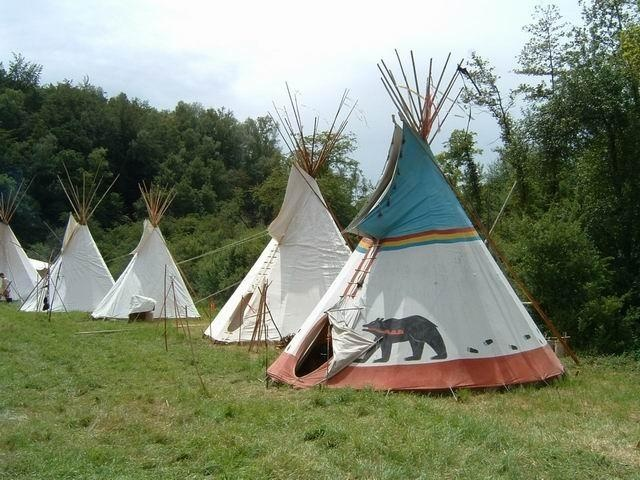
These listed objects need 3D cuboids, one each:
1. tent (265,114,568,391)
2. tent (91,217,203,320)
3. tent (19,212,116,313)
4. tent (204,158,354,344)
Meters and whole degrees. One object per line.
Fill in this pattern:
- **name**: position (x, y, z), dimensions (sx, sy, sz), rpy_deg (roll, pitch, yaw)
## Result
- **tent**: position (2.052, 0.059, 12.651), dimensions (6.077, 6.600, 6.331), rpy_deg (-4, -11, 15)
- **tent**: position (-5.967, 0.441, 18.434), dimensions (3.332, 3.988, 3.578), rpy_deg (11, 28, -8)
- **tent**: position (-9.591, 0.894, 20.453), dimensions (3.209, 3.450, 3.374), rpy_deg (-3, -3, 27)
- **tent**: position (-0.280, -0.134, 15.761), dimensions (4.846, 5.543, 5.155), rpy_deg (-2, -1, 27)
